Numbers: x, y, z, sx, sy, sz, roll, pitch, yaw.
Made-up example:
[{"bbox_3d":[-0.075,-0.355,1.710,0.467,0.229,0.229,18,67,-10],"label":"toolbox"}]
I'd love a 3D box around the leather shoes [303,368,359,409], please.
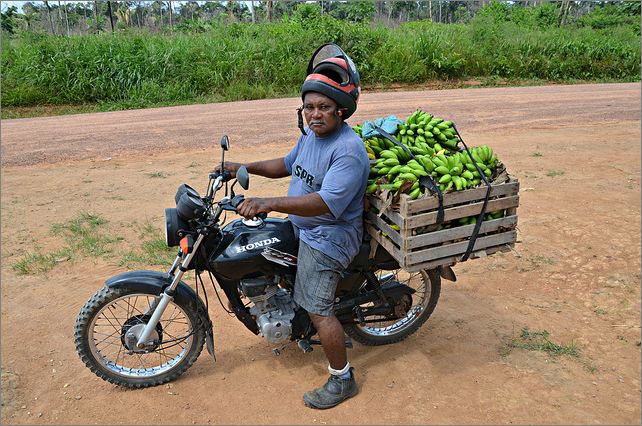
[{"bbox_3d":[0.111,2.103,5.754,0.646,0.301,0.294,-12,30,-16],"label":"leather shoes"}]

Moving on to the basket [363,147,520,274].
[{"bbox_3d":[1.420,-0.175,5.802,1.401,0.885,1.369,-14,28,-8],"label":"basket"}]
